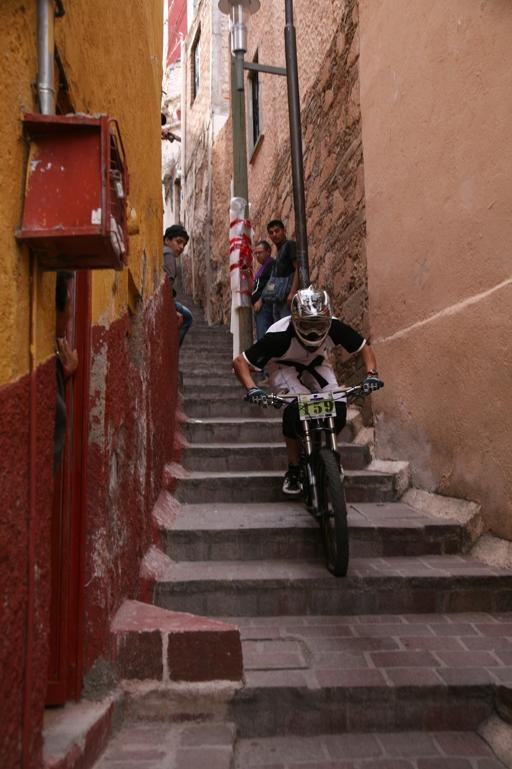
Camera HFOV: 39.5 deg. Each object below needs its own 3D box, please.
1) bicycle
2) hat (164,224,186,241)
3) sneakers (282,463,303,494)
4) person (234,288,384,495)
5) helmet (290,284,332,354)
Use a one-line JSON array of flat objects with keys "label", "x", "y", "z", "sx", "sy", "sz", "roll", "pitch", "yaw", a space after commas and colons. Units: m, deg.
[{"label": "bicycle", "x": 0.295, "y": 0.428, "z": 3.945, "sx": 0.534, "sy": 0.917, "sz": 1.339, "roll": -5, "pitch": 7, "yaw": -5}, {"label": "hat", "x": -0.729, "y": -1.381, "z": 6.473, "sx": 0.168, "sy": 0.204, "sz": 0.135, "roll": 7, "pitch": 15, "yaw": 41}, {"label": "sneakers", "x": 0.230, "y": 0.597, "z": 4.396, "sx": 0.133, "sy": 0.210, "sz": 0.464, "roll": 1, "pitch": -10, "yaw": 0}, {"label": "person", "x": 0.292, "y": 0.073, "z": 4.051, "sx": 0.704, "sy": 1.332, "sz": 0.788, "roll": 18, "pitch": 34, "yaw": 34}, {"label": "helmet", "x": 0.287, "y": -0.324, "z": 3.765, "sx": 0.199, "sy": 0.343, "sz": 0.286, "roll": -1, "pitch": 15, "yaw": 3}]
